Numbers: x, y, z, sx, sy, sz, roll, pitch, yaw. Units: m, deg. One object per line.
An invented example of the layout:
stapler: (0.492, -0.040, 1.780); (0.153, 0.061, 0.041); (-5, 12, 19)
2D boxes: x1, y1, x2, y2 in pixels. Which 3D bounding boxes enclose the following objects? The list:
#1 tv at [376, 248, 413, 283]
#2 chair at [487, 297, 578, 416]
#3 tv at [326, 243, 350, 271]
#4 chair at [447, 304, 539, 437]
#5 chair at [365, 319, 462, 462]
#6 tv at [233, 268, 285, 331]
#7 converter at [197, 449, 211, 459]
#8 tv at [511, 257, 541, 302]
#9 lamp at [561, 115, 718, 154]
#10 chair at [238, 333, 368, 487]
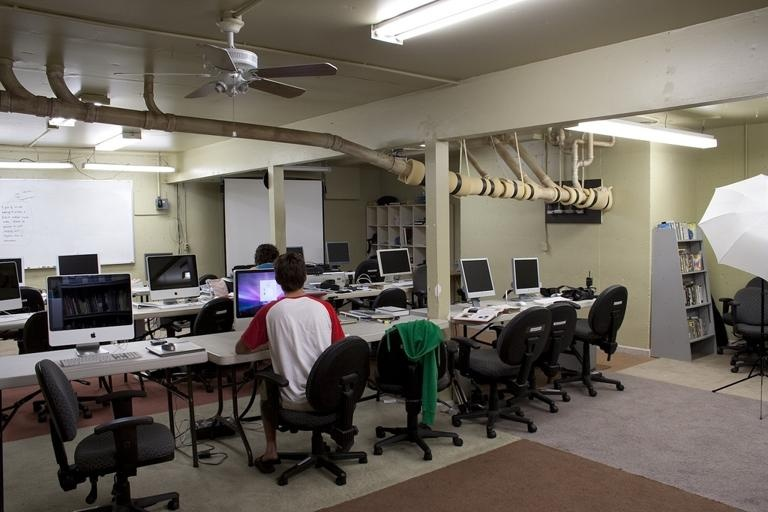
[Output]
tv: (0.102, 0.161, 9.171); (0.730, 0.512, 0.318); (-4, 3, -43)
chair: (1.724, 1.142, 6.063); (0.771, 1.125, 0.800); (2, -2, -12)
tv: (-1.014, 0.025, 11.155); (0.690, 0.664, 0.238); (-1, -4, -30)
chair: (1.255, 1.218, 5.833); (0.923, 1.326, 1.069); (6, -3, -39)
chair: (0.260, 1.280, 5.220); (0.920, 1.202, 1.018); (6, -11, -36)
tv: (-1.354, 0.447, 5.687); (0.669, 0.622, 0.223); (-2, 5, -42)
converter: (-1.719, 1.891, 5.024); (0.089, 0.025, 0.064); (-2, 6, -29)
tv: (2.016, 0.362, 7.547); (0.583, 0.628, 0.353); (-2, -2, -39)
lamp: (3.348, -1.569, 6.757); (2.258, 0.275, 0.433); (-6, 11, -31)
chair: (-0.608, 1.337, 4.779); (0.943, 1.209, 1.015); (-1, -5, 25)
